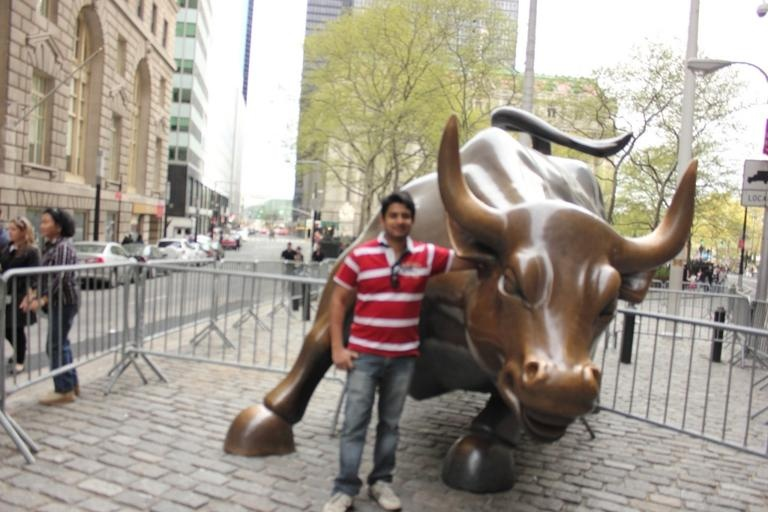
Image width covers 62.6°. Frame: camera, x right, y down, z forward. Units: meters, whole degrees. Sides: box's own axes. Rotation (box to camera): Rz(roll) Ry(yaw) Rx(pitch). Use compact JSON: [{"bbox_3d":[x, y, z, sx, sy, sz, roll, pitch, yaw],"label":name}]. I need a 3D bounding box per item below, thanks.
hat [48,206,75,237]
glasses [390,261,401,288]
[{"bbox_3d":[-4.695,-0.493,9.158,0.413,0.450,0.379,1,3,5],"label":"hat"},{"bbox_3d":[0.121,0.215,6.826,0.087,0.209,0.150,10,-26,12],"label":"glasses"}]
